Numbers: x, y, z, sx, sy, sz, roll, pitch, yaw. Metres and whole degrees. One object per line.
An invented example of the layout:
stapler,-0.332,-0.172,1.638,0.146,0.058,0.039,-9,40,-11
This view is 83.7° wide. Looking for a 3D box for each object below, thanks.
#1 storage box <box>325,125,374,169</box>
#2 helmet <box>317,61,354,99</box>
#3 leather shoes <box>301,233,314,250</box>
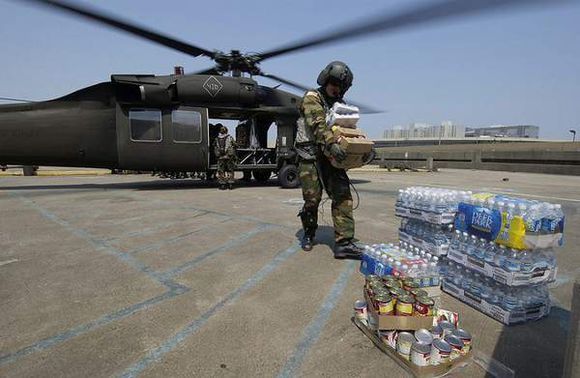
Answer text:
storage box,0.742,-0.615,4.772,0.986,0.665,0.337,-1,17,-35
helmet,0.689,-1.660,4.958,0.457,0.478,0.356,-1,7,-13
leather shoes,0.280,0.827,5.078,0.238,0.236,0.615,0,-6,5
